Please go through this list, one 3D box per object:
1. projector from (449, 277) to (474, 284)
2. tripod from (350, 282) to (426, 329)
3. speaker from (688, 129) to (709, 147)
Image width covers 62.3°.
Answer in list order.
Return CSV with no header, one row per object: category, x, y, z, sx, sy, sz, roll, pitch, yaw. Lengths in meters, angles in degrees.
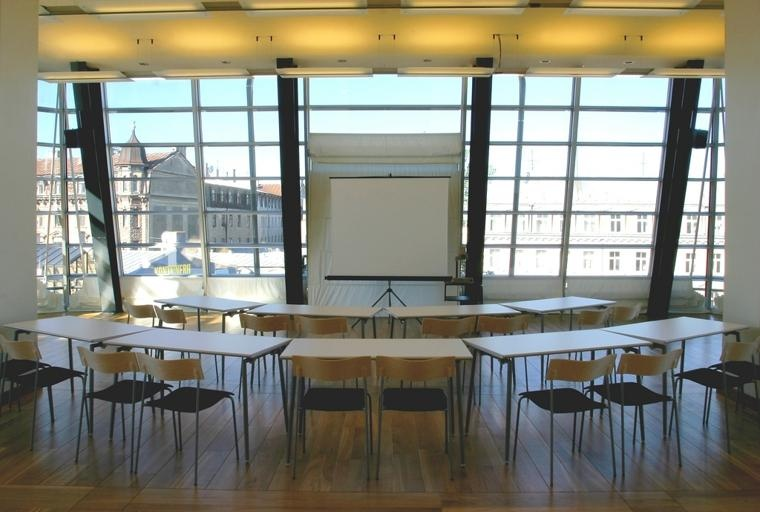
projector,1.691,0.519,13.047,0.431,0.165,0.456,-1,4,13
tripod,0.207,0.765,13.429,1.661,0.815,0.569,0,34,4
speaker,6.660,-2.444,13.128,0.250,0.393,0.380,2,5,34
